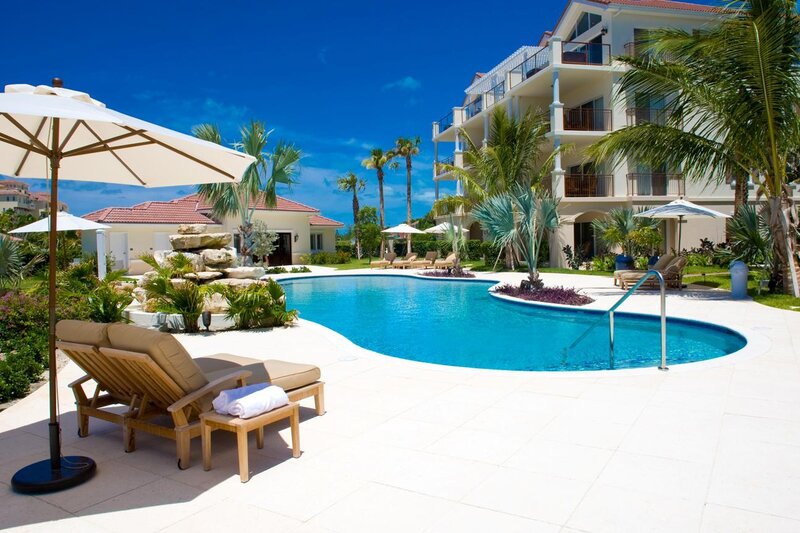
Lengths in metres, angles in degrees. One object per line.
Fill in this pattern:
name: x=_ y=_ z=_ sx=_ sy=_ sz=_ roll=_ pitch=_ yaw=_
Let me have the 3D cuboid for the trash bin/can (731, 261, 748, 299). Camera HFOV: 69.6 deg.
trash bin/can: x=9.306 y=0.358 z=15.718 sx=0.372 sy=0.993 sz=0.307 roll=-1 pitch=2 yaw=23

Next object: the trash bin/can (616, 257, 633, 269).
trash bin/can: x=7.979 y=-0.120 z=20.464 sx=0.482 sy=0.484 sz=0.460 roll=10 pitch=-15 yaw=-41

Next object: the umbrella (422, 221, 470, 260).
umbrella: x=2.294 y=-1.422 z=29.211 sx=1.928 sy=1.435 sz=2.065 roll=2 pitch=3 yaw=37

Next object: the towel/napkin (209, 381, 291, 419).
towel/napkin: x=-1.833 y=1.591 z=6.883 sx=0.469 sy=0.179 sz=0.483 roll=2 pitch=5 yaw=36

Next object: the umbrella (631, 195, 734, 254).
umbrella: x=11.948 y=-1.840 z=24.237 sx=2.611 sy=2.041 sz=2.821 roll=1 pitch=3 yaw=38

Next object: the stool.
stool: x=-1.826 y=2.090 z=7.077 sx=0.738 sy=0.644 sz=1.002 roll=-2 pitch=0 yaw=33

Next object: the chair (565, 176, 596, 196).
chair: x=8.478 y=-3.820 z=26.922 sx=1.402 sy=1.034 sz=0.668 roll=-1 pitch=2 yaw=18
